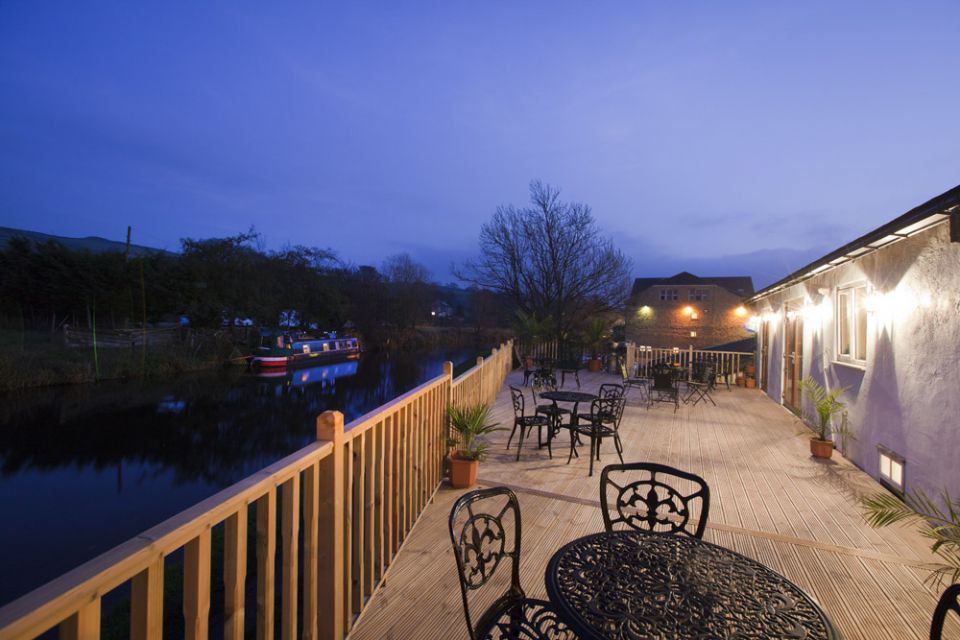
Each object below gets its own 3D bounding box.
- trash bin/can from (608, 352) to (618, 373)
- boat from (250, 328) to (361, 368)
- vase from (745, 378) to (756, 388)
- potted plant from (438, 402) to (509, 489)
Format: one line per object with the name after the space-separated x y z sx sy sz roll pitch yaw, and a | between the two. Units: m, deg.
6.768 2.176 30.543 0.624 0.836 0.684 -1 0 10 | trash bin/can
-11.709 2.054 42.749 2.039 2.886 9.937 0 -3 24 | boat
12.086 2.826 27.001 0.342 0.350 0.364 -1 -1 35 | vase
-0.340 4.274 20.699 2.114 2.571 2.132 3 -6 -25 | potted plant
